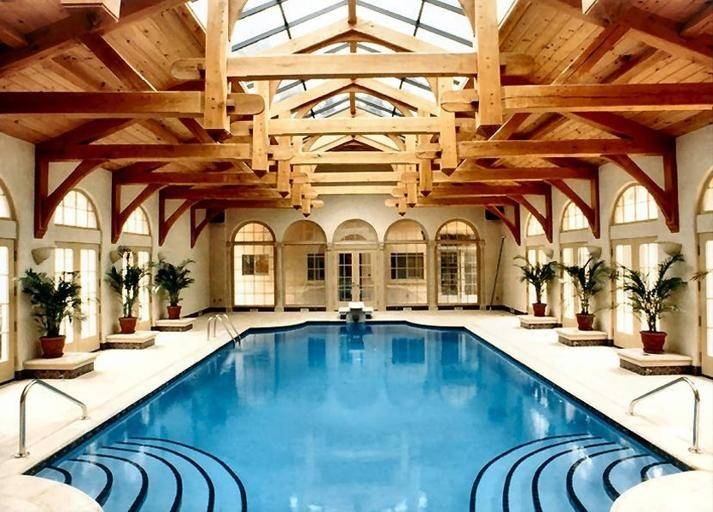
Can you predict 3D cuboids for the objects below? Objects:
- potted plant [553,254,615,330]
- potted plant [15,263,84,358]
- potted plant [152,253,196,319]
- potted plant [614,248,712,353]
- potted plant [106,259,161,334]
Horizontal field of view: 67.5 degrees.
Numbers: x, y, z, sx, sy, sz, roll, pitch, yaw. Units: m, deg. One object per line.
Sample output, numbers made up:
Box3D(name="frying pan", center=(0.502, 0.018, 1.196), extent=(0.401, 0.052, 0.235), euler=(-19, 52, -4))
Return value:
Box3D(name="potted plant", center=(5.440, 0.776, 12.510), extent=(0.763, 1.847, 1.505), euler=(0, 5, 6))
Box3D(name="potted plant", center=(-6.039, 1.066, 10.330), extent=(1.456, 1.720, 1.591), euler=(-2, -5, -4))
Box3D(name="potted plant", center=(-5.362, 0.877, 15.312), extent=(1.532, 1.888, 1.614), euler=(-1, 0, -13))
Box3D(name="potted plant", center=(5.870, 0.722, 10.446), extent=(1.694, 1.870, 1.860), euler=(0, -1, 11))
Box3D(name="potted plant", center=(-5.533, 0.863, 12.970), extent=(0.695, 2.012, 1.591), euler=(-1, 5, -9))
